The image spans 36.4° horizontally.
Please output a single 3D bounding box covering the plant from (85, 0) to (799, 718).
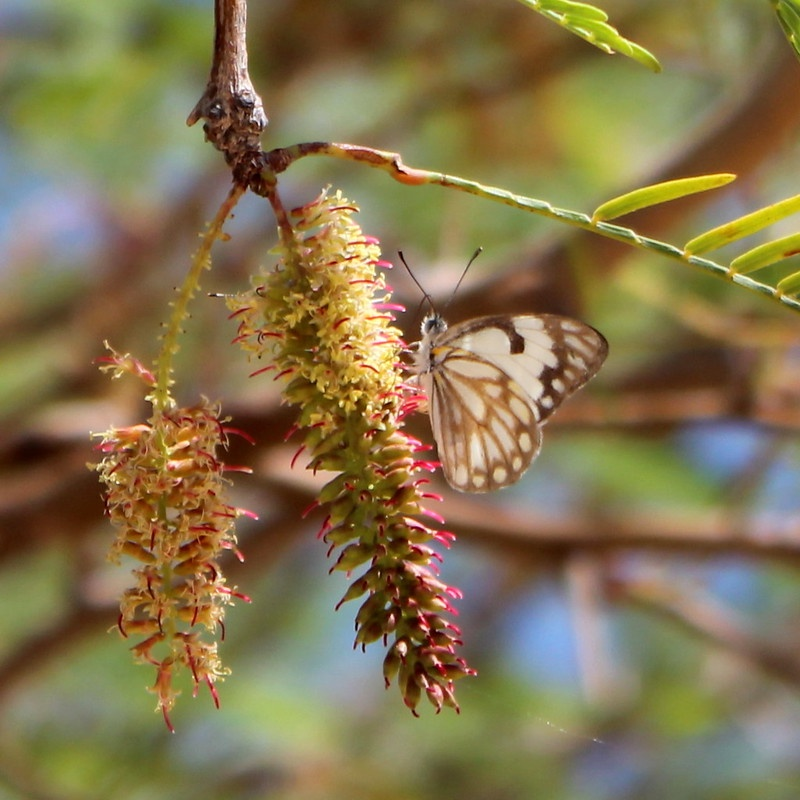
[{"bbox_3d":[0.105,-0.104,3.034,2.018,1.718,1.183,-2,91,-36],"label":"plant"}]
